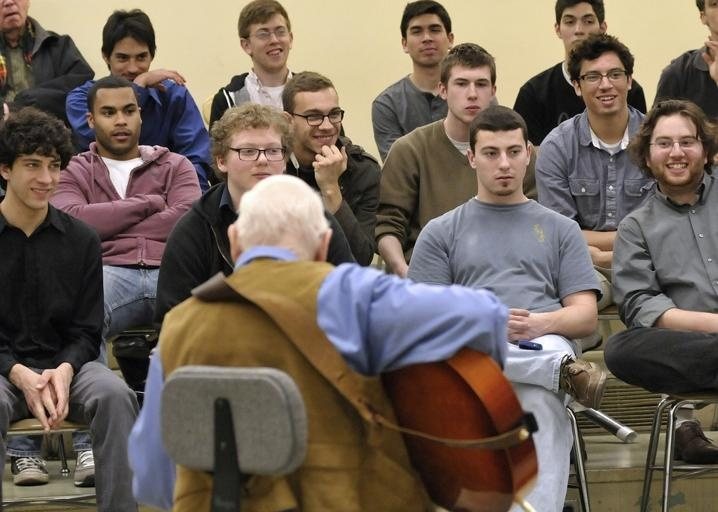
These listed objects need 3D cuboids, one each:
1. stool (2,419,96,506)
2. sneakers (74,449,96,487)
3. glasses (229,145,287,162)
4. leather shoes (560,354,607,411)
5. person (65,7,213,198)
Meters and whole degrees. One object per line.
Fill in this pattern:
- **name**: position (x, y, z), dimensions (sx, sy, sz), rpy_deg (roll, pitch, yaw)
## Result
- **stool**: position (-1.520, 0.940, 4.278), dimensions (0.257, 0.337, 0.811), rpy_deg (1, -9, -11)
- **sneakers**: position (-1.341, 1.062, 4.319), dimensions (0.117, 0.143, 0.329), rpy_deg (2, -3, -12)
- **glasses**: position (-0.465, -0.469, 3.985), dimensions (0.255, 0.064, 0.067), rpy_deg (-1, 11, -9)
- **leather shoes**: position (0.948, 0.537, 3.749), dimensions (0.127, 0.153, 0.255), rpy_deg (-7, 17, -23)
- **person**: position (-1.364, -0.944, 5.478), dimensions (0.824, 1.166, 0.685), rpy_deg (-2, 31, -5)
